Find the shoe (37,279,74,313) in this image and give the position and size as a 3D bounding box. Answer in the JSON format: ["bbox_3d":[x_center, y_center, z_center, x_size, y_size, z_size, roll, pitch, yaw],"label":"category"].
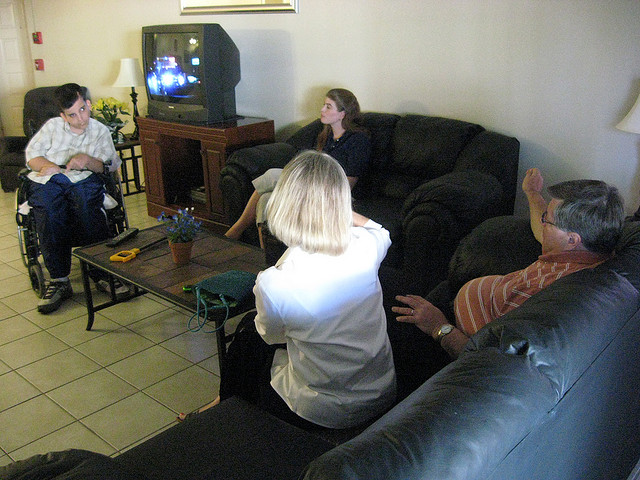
[{"bbox_3d":[-1.780,0.375,3.355,0.110,0.129,0.271,2,15,13],"label":"shoe"}]

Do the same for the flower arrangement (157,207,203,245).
[{"bbox_3d":[-0.787,-0.074,2.789,0.266,0.169,0.232,-4,0,-19],"label":"flower arrangement"}]

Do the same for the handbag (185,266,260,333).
[{"bbox_3d":[-0.465,0.255,2.424,0.262,0.114,0.430,11,26,26],"label":"handbag"}]

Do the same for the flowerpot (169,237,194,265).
[{"bbox_3d":[-0.761,0.065,2.763,0.145,0.121,0.139,-4,20,-15],"label":"flowerpot"}]

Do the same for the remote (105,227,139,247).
[{"bbox_3d":[-1.233,-0.025,3.079,0.084,0.042,0.154,7,25,27],"label":"remote"}]

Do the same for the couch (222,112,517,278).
[{"bbox_3d":[0.224,-0.367,3.891,2.084,0.963,0.964,20,26,32],"label":"couch"}]

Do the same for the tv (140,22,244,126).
[{"bbox_3d":[-1.150,-1.561,4.715,0.903,0.841,0.695,17,26,37],"label":"tv"}]

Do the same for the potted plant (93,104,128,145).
[{"bbox_3d":[-2.269,-1.250,5.228,0.256,0.289,0.286,-9,33,9],"label":"potted plant"}]

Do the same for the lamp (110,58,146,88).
[{"bbox_3d":[-2.062,-1.792,5.336,0.274,0.289,0.285,-2,22,-9],"label":"lamp"}]

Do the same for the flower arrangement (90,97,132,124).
[{"bbox_3d":[-2.266,-1.396,5.367,0.334,0.246,0.463,-10,24,-27],"label":"flower arrangement"}]

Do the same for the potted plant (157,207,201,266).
[{"bbox_3d":[-0.770,-0.011,2.771,0.210,0.282,0.190,-10,15,-39],"label":"potted plant"}]

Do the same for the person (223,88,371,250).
[{"bbox_3d":[-0.181,-0.541,3.933,1.050,1.283,0.663,-11,39,-26],"label":"person"}]
